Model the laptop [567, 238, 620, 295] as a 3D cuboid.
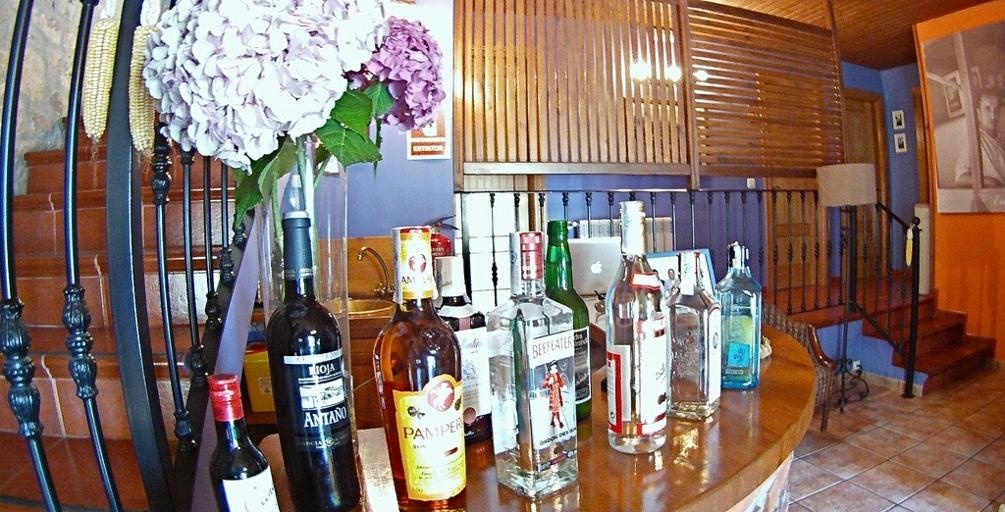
[{"bbox_3d":[0.706,0.071,5.154,0.452,0.434,0.438,-3,-12,4],"label":"laptop"}]
